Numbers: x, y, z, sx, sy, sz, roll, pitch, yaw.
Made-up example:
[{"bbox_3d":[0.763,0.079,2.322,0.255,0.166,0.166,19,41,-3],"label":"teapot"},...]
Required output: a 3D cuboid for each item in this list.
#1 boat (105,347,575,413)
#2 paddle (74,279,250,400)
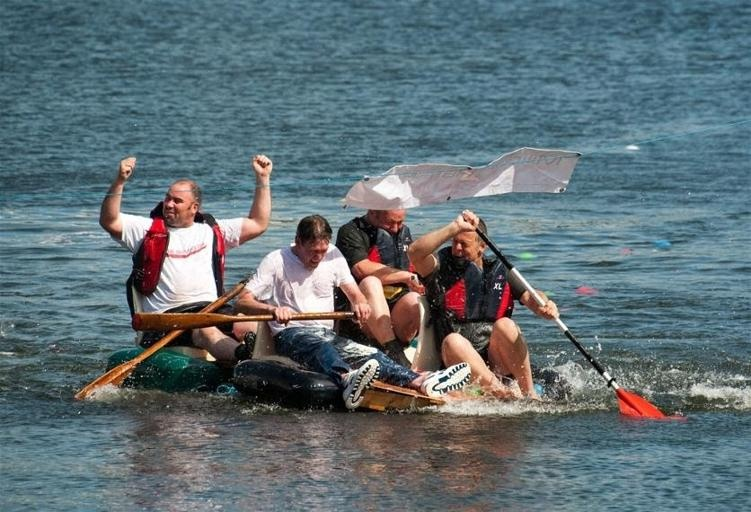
[{"bbox_3d":[-1.427,1.678,17.128,3.601,0.392,1.857,2,-6,18],"label":"boat"},{"bbox_3d":[-2.849,1.200,17.745,2.771,0.190,0.274,-32,77,-11],"label":"paddle"}]
